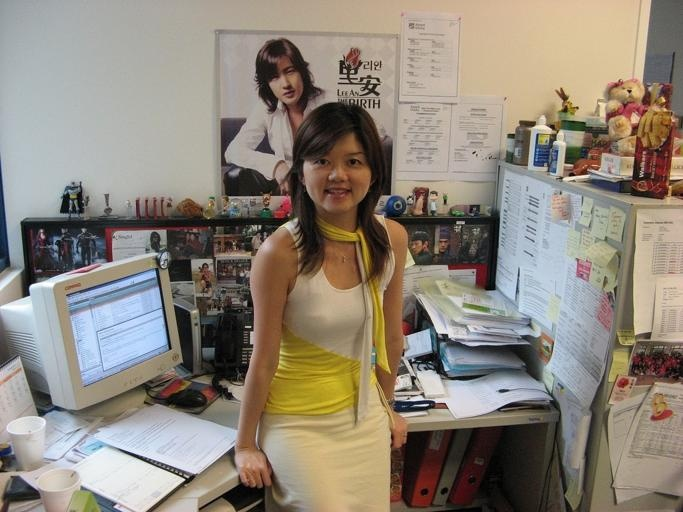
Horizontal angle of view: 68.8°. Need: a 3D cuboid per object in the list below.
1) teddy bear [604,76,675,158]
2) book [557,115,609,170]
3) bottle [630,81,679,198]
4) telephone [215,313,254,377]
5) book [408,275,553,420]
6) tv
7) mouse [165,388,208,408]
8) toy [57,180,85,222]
[{"bbox_3d":[1.026,-0.482,1.743,0.219,0.271,0.144,3,-5,4],"label":"teddy bear"},{"bbox_3d":[1.032,-0.465,2.145,0.248,0.266,0.251,5,11,26],"label":"book"},{"bbox_3d":[1.009,-0.346,1.605,0.104,0.315,0.152,5,14,34],"label":"bottle"},{"bbox_3d":[-0.442,0.363,2.015,0.167,0.241,0.081,1,-13,1],"label":"telephone"},{"bbox_3d":[0.575,0.367,2.114,0.326,0.183,0.531,0,20,-4],"label":"book"},{"bbox_3d":[-0.977,0.219,1.968,0.583,0.546,0.525,7,17,29],"label":"tv"},{"bbox_3d":[-0.571,0.522,1.837,0.112,0.037,0.065,0,8,3],"label":"mouse"},{"bbox_3d":[-1.158,-0.239,2.130,0.107,0.150,0.070,-7,12,-22],"label":"toy"}]
